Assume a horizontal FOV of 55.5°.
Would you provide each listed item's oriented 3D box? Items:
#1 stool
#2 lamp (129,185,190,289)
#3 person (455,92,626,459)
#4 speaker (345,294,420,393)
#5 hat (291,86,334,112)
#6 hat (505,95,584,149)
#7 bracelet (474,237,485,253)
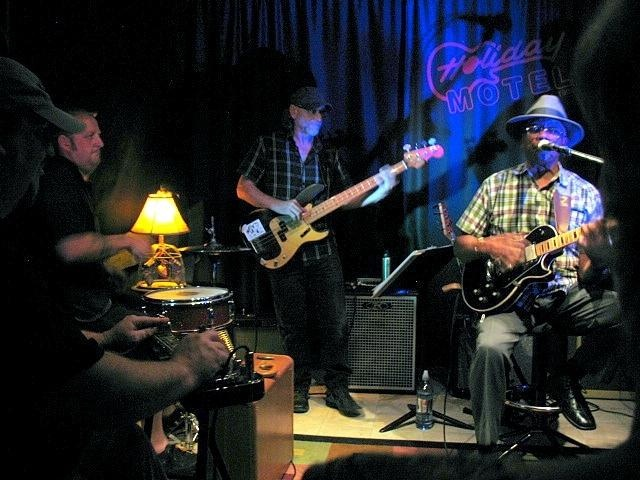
[{"bbox_3d":[1.270,0.841,3.529,0.532,0.564,0.483,15,-8,-32],"label":"stool"},{"bbox_3d":[-1.211,-0.007,4.731,0.375,0.633,0.355,-2,6,-1],"label":"lamp"},{"bbox_3d":[1.277,0.325,3.620,0.920,2.328,0.890,-1,15,13],"label":"person"},{"bbox_3d":[0.475,0.766,4.786,0.557,0.760,0.446,1,7,9],"label":"speaker"},{"bbox_3d":[-0.086,-1.032,4.402,0.187,0.131,0.252,3,-3,-37],"label":"hat"},{"bbox_3d":[1.484,-0.853,4.052,0.455,0.211,0.464,17,28,35],"label":"hat"},{"bbox_3d":[0.975,0.027,3.684,0.019,0.078,0.078,12,-5,-22],"label":"bracelet"}]
